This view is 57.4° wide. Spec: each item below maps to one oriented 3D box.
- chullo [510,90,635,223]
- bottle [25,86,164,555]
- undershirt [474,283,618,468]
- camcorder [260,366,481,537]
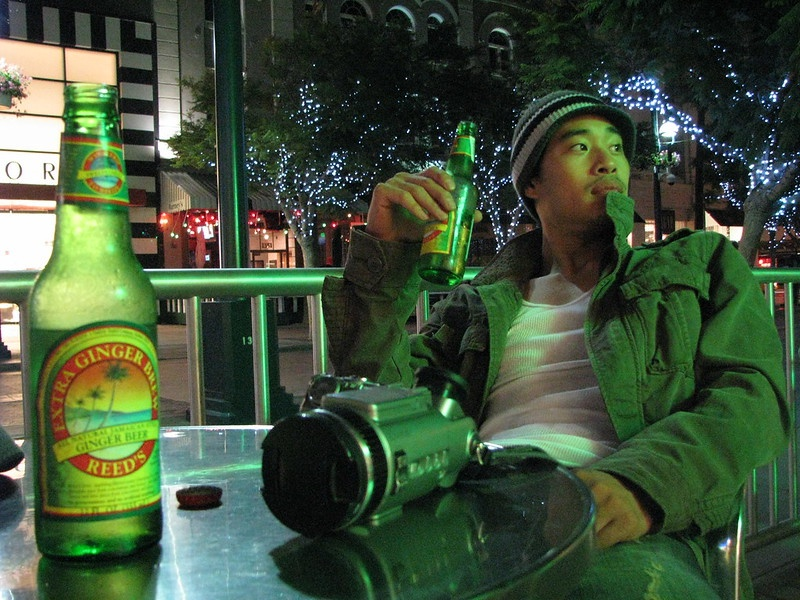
[{"bbox_3d":[0.624,-0.563,2.792,0.424,0.334,0.417,6,-13,-45],"label":"chullo"},{"bbox_3d":[-0.501,0.037,1.202,0.193,0.781,0.136,-3,4,-23],"label":"bottle"},{"bbox_3d":[0.516,0.188,2.539,0.438,0.551,0.314,-3,-6,35],"label":"undershirt"},{"bbox_3d":[-0.057,0.266,1.410,0.261,0.160,0.341,1,3,35],"label":"camcorder"}]
